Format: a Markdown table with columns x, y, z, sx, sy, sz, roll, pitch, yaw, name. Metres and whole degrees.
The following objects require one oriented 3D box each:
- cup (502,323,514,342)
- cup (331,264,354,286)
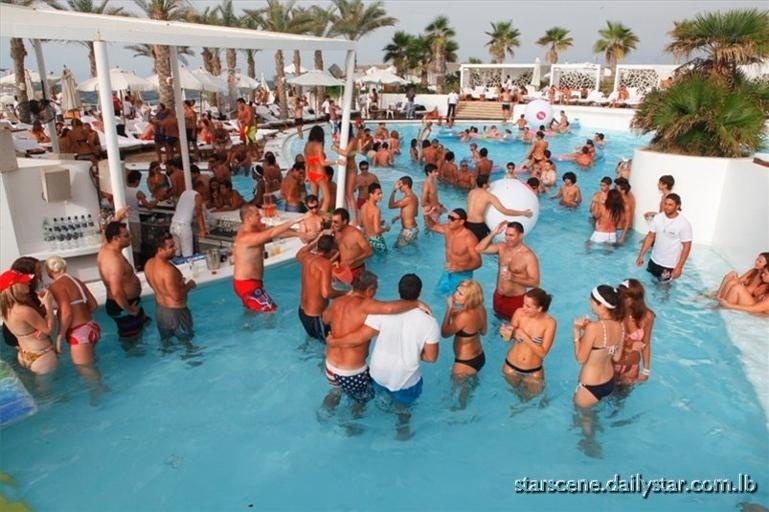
| x | y | z | sx | sy | sz | roll | pitch | yaw | name |
| --- | --- | --- | --- | --- | --- | --- | --- | --- | --- |
| 1.753 | 1.089 | 6.665 | 0.152 | 0.243 | 0.298 | 6 | 19 | 23 | cup |
| -0.818 | 0.343 | 8.839 | 0.352 | 0.432 | 0.249 | 9 | 63 | 37 | cup |
